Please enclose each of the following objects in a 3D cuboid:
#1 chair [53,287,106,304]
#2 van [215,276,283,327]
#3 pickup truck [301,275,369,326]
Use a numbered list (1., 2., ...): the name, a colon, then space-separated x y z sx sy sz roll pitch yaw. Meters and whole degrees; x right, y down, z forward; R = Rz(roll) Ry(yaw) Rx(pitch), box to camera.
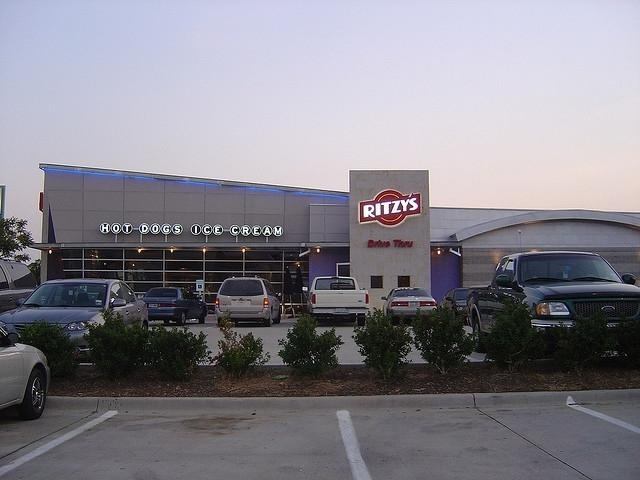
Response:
1. chair: -5.677 1.334 16.113 0.539 0.343 0.820 0 -4 -4
2. van: -2.822 2.447 27.592 1.662 1.223 3.347 0 -1 1
3. pickup truck: 0.704 2.622 27.104 2.292 1.999 2.161 -1 5 -1
